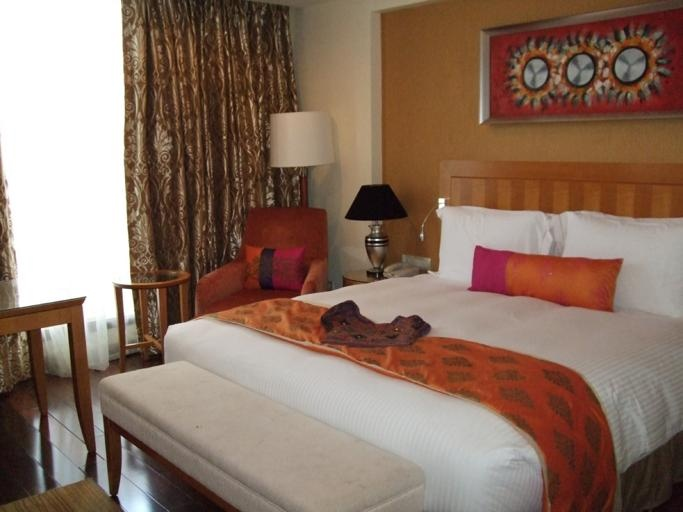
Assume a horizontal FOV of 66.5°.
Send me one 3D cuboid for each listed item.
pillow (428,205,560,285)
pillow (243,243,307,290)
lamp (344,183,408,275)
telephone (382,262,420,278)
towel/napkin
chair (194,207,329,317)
[{"bbox_3d":[1.097,-0.164,4.004,0.650,0.659,0.191,-4,-15,44],"label":"pillow"},{"bbox_3d":[-0.578,0.108,4.561,0.353,0.267,0.132,1,-16,14],"label":"pillow"},{"bbox_3d":[0.373,-0.320,5.080,0.677,1.067,0.747,-1,10,3],"label":"lamp"},{"bbox_3d":[0.548,0.127,4.724,0.168,0.082,0.223,6,11,44],"label":"telephone"},{"bbox_3d":[0.164,0.375,2.934,0.656,0.143,0.463,0,9,19],"label":"towel/napkin"},{"bbox_3d":[-0.764,-0.014,4.669,0.934,1.430,1.098,2,5,16],"label":"chair"}]
